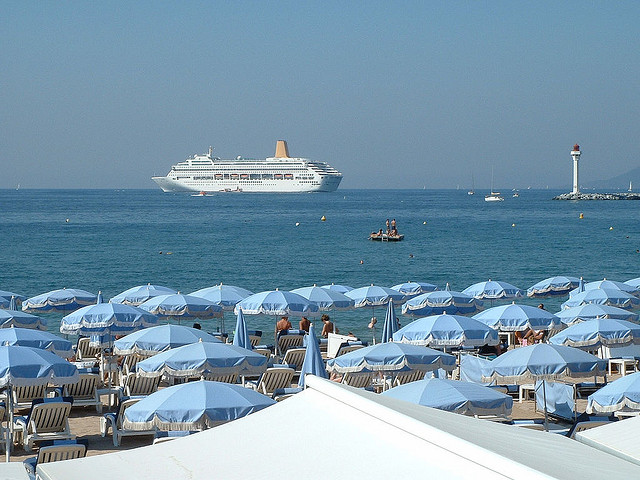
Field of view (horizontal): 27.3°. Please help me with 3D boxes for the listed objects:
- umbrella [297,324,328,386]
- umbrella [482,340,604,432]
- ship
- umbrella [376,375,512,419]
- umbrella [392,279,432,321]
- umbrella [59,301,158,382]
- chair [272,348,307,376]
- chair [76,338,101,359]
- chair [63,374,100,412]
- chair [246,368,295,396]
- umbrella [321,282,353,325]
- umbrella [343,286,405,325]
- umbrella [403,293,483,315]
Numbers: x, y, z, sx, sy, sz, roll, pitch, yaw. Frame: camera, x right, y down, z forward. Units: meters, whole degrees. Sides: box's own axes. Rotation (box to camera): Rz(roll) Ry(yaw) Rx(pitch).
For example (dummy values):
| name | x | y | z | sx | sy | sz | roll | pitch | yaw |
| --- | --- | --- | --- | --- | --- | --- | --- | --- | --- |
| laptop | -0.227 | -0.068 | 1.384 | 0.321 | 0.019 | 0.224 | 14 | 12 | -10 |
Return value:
| name | x | y | z | sx | sy | sz | roll | pitch | yaw |
| --- | --- | --- | --- | --- | --- | --- | --- | --- | --- |
| umbrella | -0.162 | 2.268 | 25.900 | 0.543 | 1.179 | 1.388 | -4 | -4 | -1 |
| umbrella | 4.215 | 2.786 | 24.534 | 1.657 | 1.335 | 1.639 | -4 | 3 | 11 |
| ship | -11.505 | -9.782 | 204.878 | 29.658 | 6.699 | 15.993 | -5 | -4 | 25 |
| umbrella | 2.265 | 2.736 | 22.718 | 2.068 | 0.739 | 0.795 | -2 | -4 | -26 |
| umbrella | 2.413 | 1.618 | 34.508 | 1.586 | 0.972 | 1.489 | -1 | 0 | -1 |
| umbrella | -4.432 | 2.182 | 27.930 | 1.714 | 0.817 | 1.682 | -2 | -3 | 4 |
| chair | -0.639 | 2.600 | 29.402 | 0.544 | 0.764 | 0.550 | 3 | 15 | -20 |
| chair | -5.485 | 2.575 | 31.165 | 0.376 | 0.397 | 0.628 | 2 | 7 | -19 |
| chair | -4.696 | 3.091 | 26.595 | 0.802 | 0.966 | 1.004 | 1 | 1 | -19 |
| chair | -0.937 | 2.874 | 27.058 | 0.528 | 0.537 | 0.927 | 1 | 1 | -20 |
| umbrella | 0.297 | 1.449 | 32.102 | 0.765 | 0.632 | 0.789 | 1 | 3 | 43 |
| umbrella | 1.450 | 1.763 | 35.536 | 1.538 | 1.002 | 1.511 | 0 | 1 | 5 |
| umbrella | 3.091 | 1.611 | 32.790 | 0.996 | 0.355 | 1.001 | -8 | -11 | 31 |
